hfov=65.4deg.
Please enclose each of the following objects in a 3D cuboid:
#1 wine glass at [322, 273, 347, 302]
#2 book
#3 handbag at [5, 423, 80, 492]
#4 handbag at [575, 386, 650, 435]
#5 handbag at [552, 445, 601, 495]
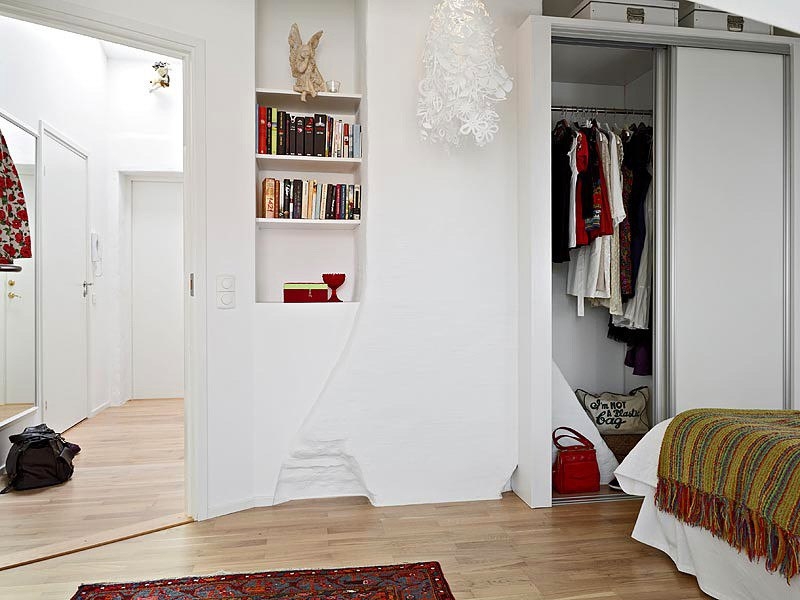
[{"bbox_3d":[-0.433,-0.083,4.288,0.158,0.208,0.176,-1,-6,3],"label":"wine glass"},{"bbox_3d":[-0.616,-0.916,4.158,0.737,0.777,0.255,0,1,-13],"label":"book"},{"bbox_3d":[-2.514,1.110,4.345,0.449,0.335,0.279,-3,6,-23],"label":"handbag"},{"bbox_3d":[1.615,0.842,4.707,0.549,0.376,0.223,-3,-5,5],"label":"handbag"},{"bbox_3d":[1.180,1.129,4.212,0.323,0.348,0.207,-2,-5,-4],"label":"handbag"}]
